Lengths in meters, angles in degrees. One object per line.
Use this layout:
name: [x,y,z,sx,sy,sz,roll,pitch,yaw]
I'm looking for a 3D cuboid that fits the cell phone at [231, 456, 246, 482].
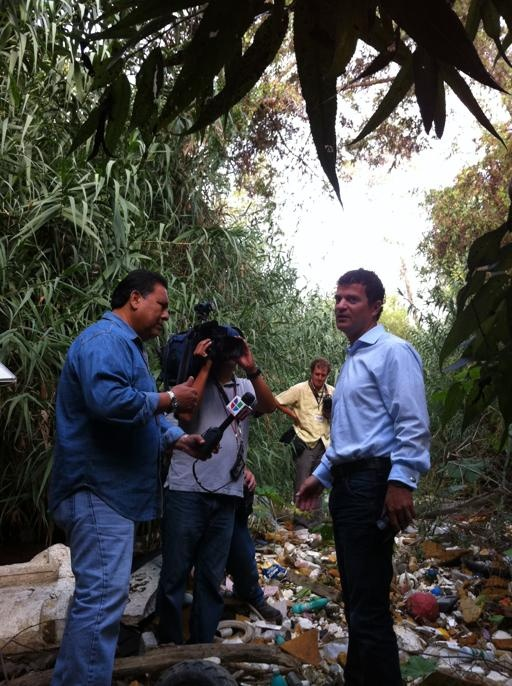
cell phone: [-0.094,0.706,2.732,0.044,0.110,0.069,-14,-21,40]
